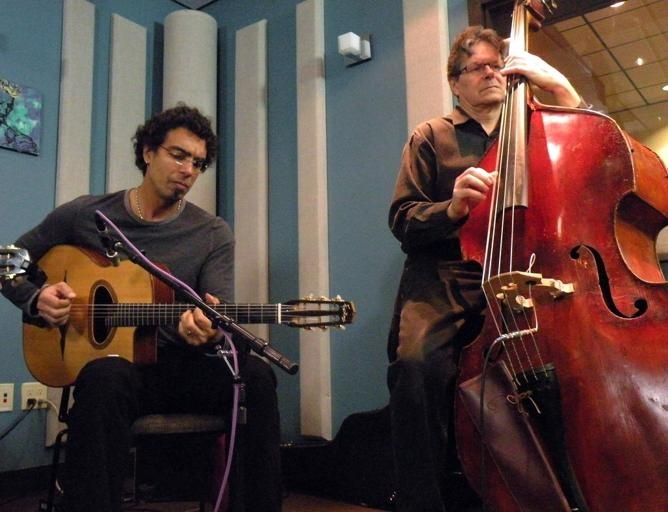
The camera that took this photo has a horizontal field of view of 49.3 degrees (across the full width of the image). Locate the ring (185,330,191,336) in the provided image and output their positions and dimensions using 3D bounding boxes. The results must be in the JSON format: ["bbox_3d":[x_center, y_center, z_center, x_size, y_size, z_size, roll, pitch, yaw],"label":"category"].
[{"bbox_3d":[-0.495,0.263,2.475,0.022,0.022,0.005,-1,4,-11],"label":"ring"}]

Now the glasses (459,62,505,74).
[{"bbox_3d":[0.532,-0.661,2.566,0.102,0.031,0.110,-2,-1,-1],"label":"glasses"}]
